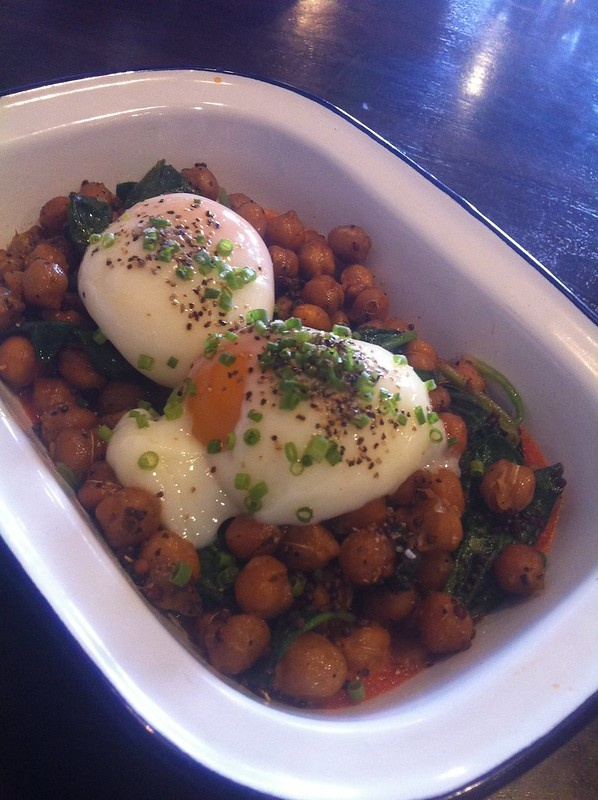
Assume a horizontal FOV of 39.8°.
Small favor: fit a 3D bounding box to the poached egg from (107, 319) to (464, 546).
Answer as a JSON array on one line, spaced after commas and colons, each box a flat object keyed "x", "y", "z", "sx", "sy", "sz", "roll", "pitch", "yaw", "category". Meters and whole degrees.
[{"x": -0.013, "y": 0.119, "z": 1.642, "sx": 0.608, "sy": 0.196, "sz": 0.438, "roll": -20, "pitch": 54, "yaw": -21, "category": "poached egg"}]
